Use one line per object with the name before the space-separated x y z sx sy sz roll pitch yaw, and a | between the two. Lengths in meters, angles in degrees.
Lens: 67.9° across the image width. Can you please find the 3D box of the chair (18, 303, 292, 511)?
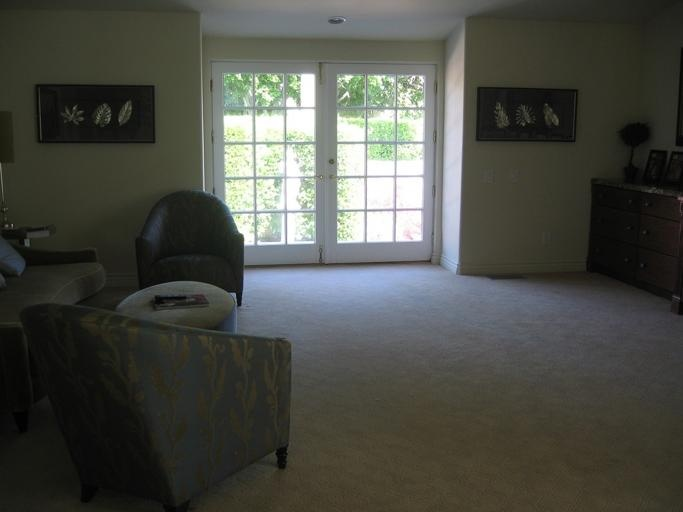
chair | -0.788 0.488 2.225 0.754 0.990 0.980 4 9 25

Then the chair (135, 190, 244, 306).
chair | -1.363 -0.120 5.196 0.895 1.348 1.111 0 2 -10

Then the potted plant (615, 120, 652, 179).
potted plant | 3.373 -1.206 5.852 0.329 0.680 0.613 4 13 21

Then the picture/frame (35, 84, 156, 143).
picture/frame | -2.528 -1.464 5.302 1.106 0.747 0.031 -5 -24 -20
